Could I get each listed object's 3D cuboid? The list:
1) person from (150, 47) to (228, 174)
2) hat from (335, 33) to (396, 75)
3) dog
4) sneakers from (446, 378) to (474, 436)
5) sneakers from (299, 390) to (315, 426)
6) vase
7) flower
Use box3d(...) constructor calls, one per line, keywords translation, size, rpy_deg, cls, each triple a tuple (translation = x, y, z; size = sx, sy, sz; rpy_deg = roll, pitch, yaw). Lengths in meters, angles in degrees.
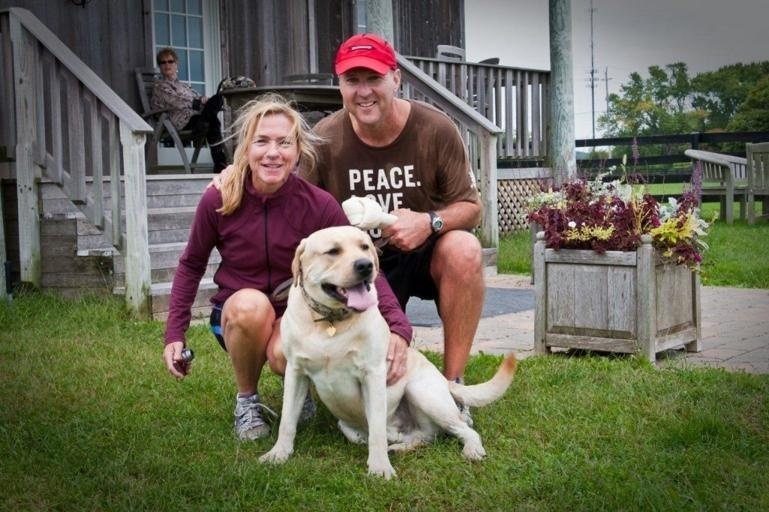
box3d(translation=(-2.495, -1.623, 9.343), size=(0.934, 1.346, 0.864), rpy_deg=(2, 7, 37), cls="person")
box3d(translation=(-0.110, -1.229, 4.636), size=(0.361, 0.238, 0.241), rpy_deg=(-2, 14, -2), cls="hat")
box3d(translation=(0.051, 0.501, 4.497), size=(1.457, 1.311, 1.005), rpy_deg=(7, -7, -44), cls="dog")
box3d(translation=(0.450, 0.896, 4.399), size=(0.102, 0.354, 0.141), rpy_deg=(-11, -8, 1), cls="sneakers")
box3d(translation=(-0.465, 0.928, 4.654), size=(0.124, 0.198, 0.066), rpy_deg=(2, -5, 28), cls="sneakers")
box3d(translation=(1.843, 0.320, 5.793), size=(0.966, 0.930, 0.986), rpy_deg=(2, -1, -32), cls="vase")
box3d(translation=(1.938, -0.311, 5.622), size=(0.709, 0.357, 0.837), rpy_deg=(21, 17, 13), cls="flower")
